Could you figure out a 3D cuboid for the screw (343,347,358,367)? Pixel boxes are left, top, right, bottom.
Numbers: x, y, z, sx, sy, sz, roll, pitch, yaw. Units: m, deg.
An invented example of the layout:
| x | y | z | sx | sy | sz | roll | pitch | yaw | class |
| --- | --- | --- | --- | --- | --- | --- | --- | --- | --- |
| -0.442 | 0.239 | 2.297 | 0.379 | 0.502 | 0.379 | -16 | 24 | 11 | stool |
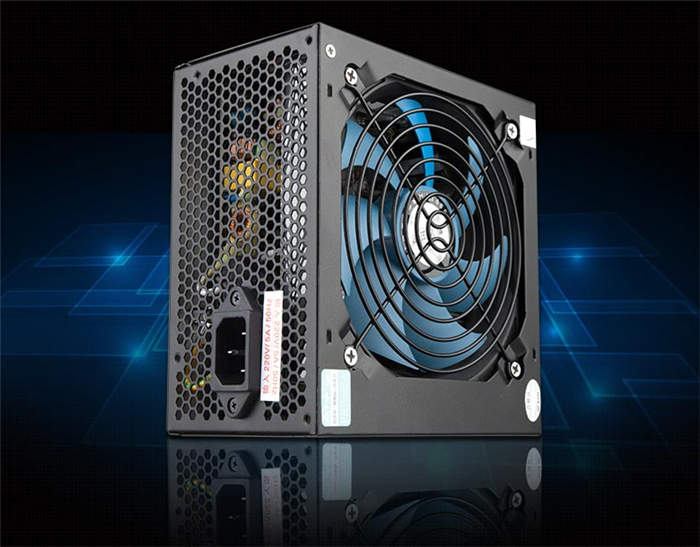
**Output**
| x | y | z | sx | sy | sz | roll | pitch | yaw | class |
| --- | --- | --- | --- | --- | --- | --- | --- | --- | --- |
| 0.003 | 0.253 | 2.033 | 0.014 | 0.064 | 0.060 | -3 | -7 | 33 | screw |
